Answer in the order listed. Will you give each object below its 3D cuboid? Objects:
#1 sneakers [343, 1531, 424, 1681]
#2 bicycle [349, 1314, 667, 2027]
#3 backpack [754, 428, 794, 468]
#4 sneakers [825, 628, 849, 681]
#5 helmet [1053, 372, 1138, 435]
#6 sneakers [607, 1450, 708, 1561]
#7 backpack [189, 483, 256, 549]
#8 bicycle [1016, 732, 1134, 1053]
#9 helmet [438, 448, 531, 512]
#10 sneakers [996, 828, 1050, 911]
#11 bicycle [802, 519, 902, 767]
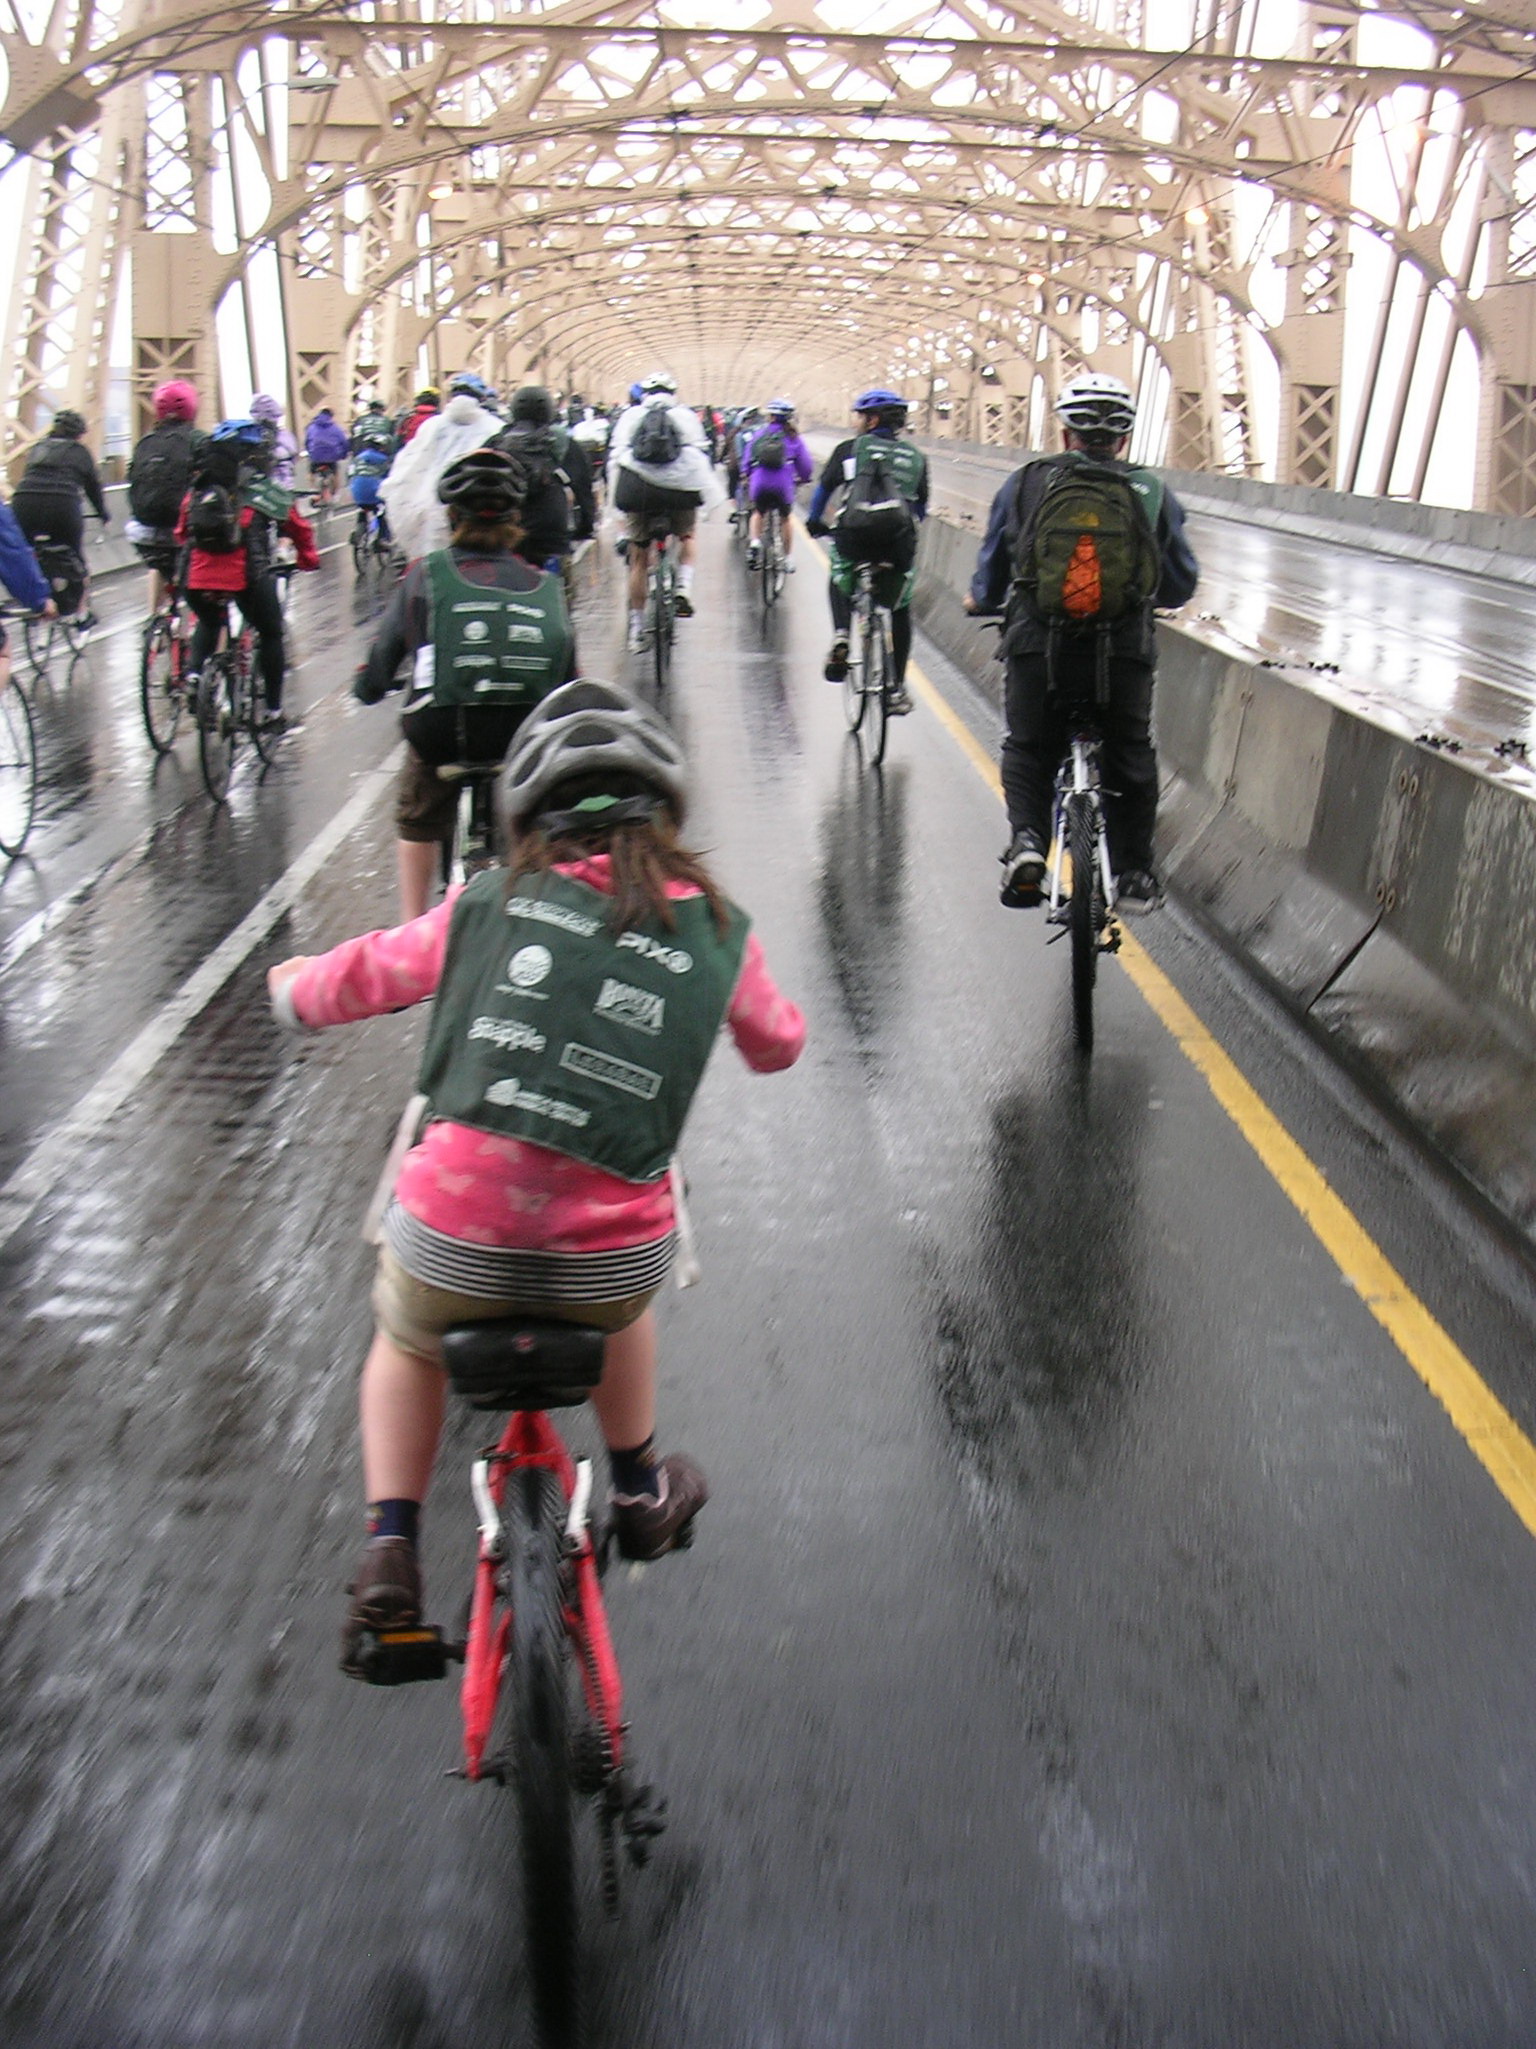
[{"bbox_3d":[-0.431,0.670,1.495,0.073,0.092,0.196,2,-14,-8],"label":"sneakers"},{"bbox_3d":[-0.299,0.626,1.501,0.414,0.538,0.853,0,-7,-2],"label":"bicycle"},{"bbox_3d":[0.058,-9.837,22.289,0.586,0.614,0.224,8,5,30],"label":"backpack"},{"bbox_3d":[0.651,-3.531,12.863,0.183,0.561,0.238,3,44,-7],"label":"sneakers"},{"bbox_3d":[1.529,-2.920,6.147,0.269,0.335,0.355,-9,36,-12],"label":"helmet"},{"bbox_3d":[-0.151,0.714,2.021,0.089,0.117,0.255,1,20,11],"label":"sneakers"},{"bbox_3d":[-4.287,-4.010,10.361,0.382,0.508,0.519,-6,15,-13],"label":"backpack"},{"bbox_3d":[1.454,-0.622,6.156,0.350,1.503,0.725,1,5,10],"label":"bicycle"},{"bbox_3d":[-1.072,-2.047,4.955,0.302,0.190,0.227,22,21,40],"label":"helmet"},{"bbox_3d":[1.230,-0.681,6.324,0.157,0.188,0.409,0,-24,0],"label":"sneakers"},{"bbox_3d":[0.928,-3.590,12.745,0.843,1.121,1.885,-1,26,-2],"label":"bicycle"}]
